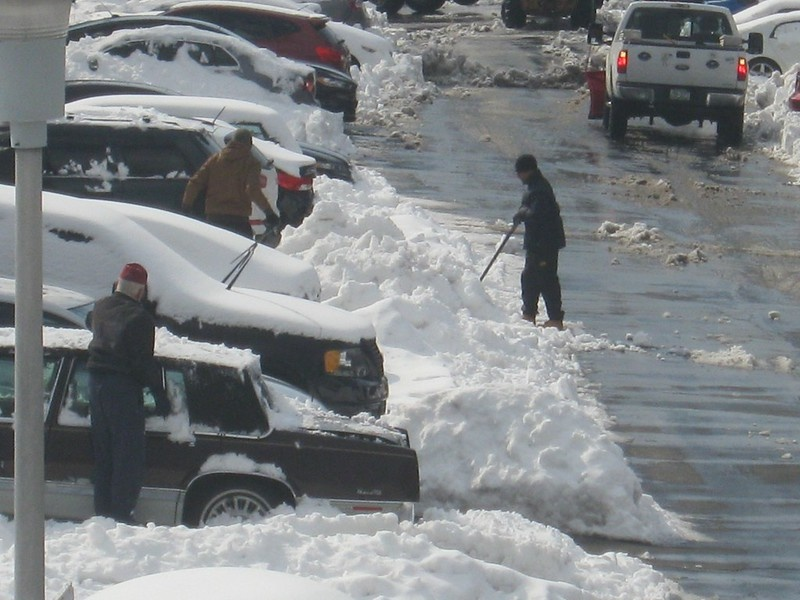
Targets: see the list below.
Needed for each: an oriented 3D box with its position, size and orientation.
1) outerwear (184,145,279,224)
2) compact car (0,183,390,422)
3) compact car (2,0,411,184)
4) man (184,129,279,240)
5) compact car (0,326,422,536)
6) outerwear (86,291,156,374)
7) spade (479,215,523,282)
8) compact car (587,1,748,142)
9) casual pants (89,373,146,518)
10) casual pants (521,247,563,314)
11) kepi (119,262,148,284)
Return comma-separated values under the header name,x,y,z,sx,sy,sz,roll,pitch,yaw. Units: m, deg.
name,x,y,z,sx,sy,sz,roll,pitch,yaw
outerwear,-2.002,-1.311,23.491,0.932,0.710,0.331,11,28,2
compact car,-2.078,0.082,21.742,4.582,1.513,2.002,7,18,5
compact car,-2.850,-3.996,34.234,4.894,2.077,17.081,3,11,1
man,-1.988,-1.055,23.598,1.110,1.788,0.591,7,22,3
compact car,-1.831,1.216,20.208,3.919,1.276,1.850,1,10,-1
outerwear,-2.688,0.331,19.621,0.739,0.744,0.462,10,7,29
spade,1.261,-0.619,26.059,0.154,1.050,0.150,22,24,-38
compact car,4.334,-3.621,32.225,1.560,1.139,2.657,1,17,0
casual pants,-2.723,1.389,19.601,0.519,1.398,0.340,1,12,-8
casual pants,1.666,-0.180,24.184,0.558,0.835,0.361,6,12,16
kepi,-2.579,-0.254,19.776,0.233,0.192,0.221,15,2,-15
